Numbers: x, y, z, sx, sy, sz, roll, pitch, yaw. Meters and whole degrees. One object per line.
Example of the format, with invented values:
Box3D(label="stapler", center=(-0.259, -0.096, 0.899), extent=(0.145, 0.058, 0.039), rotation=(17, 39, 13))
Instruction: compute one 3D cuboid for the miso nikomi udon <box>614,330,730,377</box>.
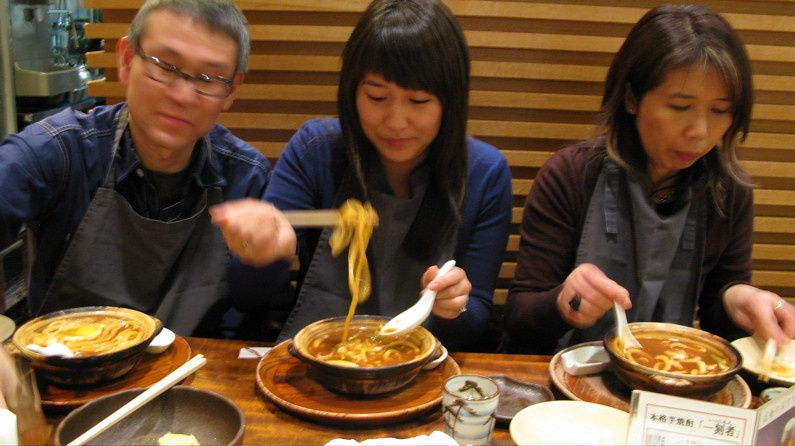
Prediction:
Box3D(label="miso nikomi udon", center=(1.627, 0.790, 3.261), extent=(0.580, 0.096, 0.506), rotation=(-3, 18, 11))

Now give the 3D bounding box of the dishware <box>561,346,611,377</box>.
Box3D(label="dishware", center=(1.136, 0.835, 3.417), extent=(0.242, 0.073, 0.156), rotation=(-12, 24, 14))

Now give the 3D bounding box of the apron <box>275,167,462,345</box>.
Box3D(label="apron", center=(-0.209, 0.306, 3.856), extent=(0.990, 1.357, 0.361), rotation=(15, 12, -15))

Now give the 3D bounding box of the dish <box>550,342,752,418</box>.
Box3D(label="dish", center=(1.228, 0.904, 3.365), extent=(0.591, 0.061, 0.520), rotation=(-2, 14, -21))

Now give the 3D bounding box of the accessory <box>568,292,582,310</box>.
Box3D(label="accessory", center=(1.147, 0.517, 3.654), extent=(0.028, 0.111, 0.079), rotation=(-7, 21, -32))

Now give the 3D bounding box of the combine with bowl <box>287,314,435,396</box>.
Box3D(label="combine with bowl", center=(-0.204, 0.777, 3.344), extent=(0.767, 0.231, 0.756), rotation=(12, 16, 35))

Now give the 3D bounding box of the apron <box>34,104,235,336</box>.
Box3D(label="apron", center=(-1.858, -0.003, 3.880), extent=(1.014, 1.371, 1.263), rotation=(20, 51, -3))

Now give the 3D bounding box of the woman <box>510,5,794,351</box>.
Box3D(label="woman", center=(1.776, -0.167, 3.869), extent=(1.750, 2.597, 1.092), rotation=(8, 19, 10))
